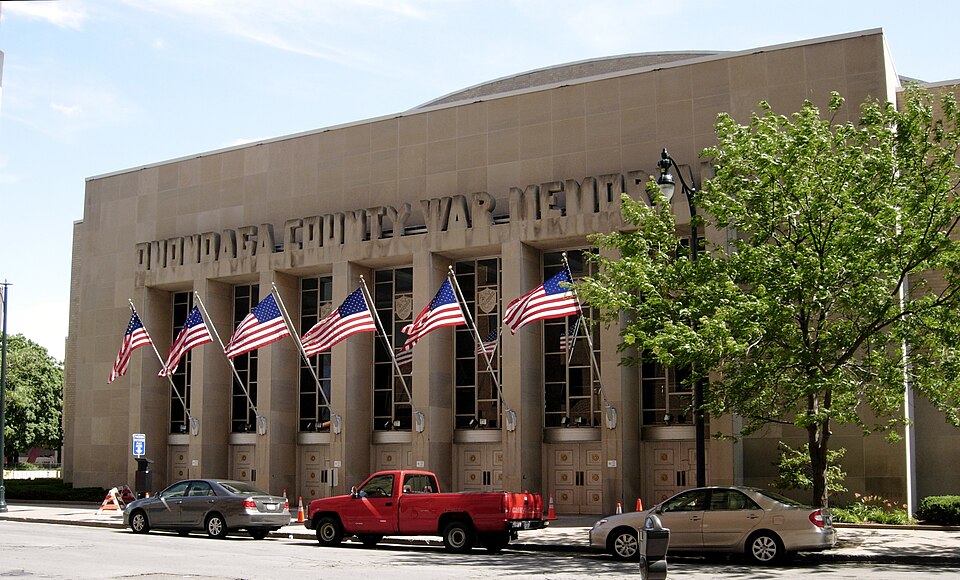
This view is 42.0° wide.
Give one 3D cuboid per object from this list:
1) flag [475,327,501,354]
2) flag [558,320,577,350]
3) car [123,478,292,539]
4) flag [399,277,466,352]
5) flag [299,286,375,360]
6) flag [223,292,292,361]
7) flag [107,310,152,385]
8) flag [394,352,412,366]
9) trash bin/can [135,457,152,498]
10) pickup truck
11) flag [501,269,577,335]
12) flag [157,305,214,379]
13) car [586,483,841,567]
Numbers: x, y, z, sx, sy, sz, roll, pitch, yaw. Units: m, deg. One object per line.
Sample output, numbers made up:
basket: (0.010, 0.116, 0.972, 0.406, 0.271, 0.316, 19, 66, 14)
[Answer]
flag: (0.487, 2.424, 59.416, 0.704, 1.368, 1.246, 3, -14, -21)
flag: (3.981, 2.109, 58.145, 0.856, 1.160, 0.365, 0, -12, 21)
car: (-10.627, 8.739, 49.516, 6.659, 2.245, 2.591, -4, -8, 31)
flag: (-2.213, 0.929, 54.593, 2.997, 3.171, 0.411, -25, -48, 18)
flag: (-6.355, 1.385, 55.739, 3.060, 3.388, 0.190, -10, -44, 2)
flag: (-10.350, 1.631, 56.556, 3.110, 0.217, 2.979, -20, -46, -8)
flag: (-17.882, 2.986, 64.183, 0.439, 1.929, 3.799, -26, -25, -54)
flag: (-3.708, 3.324, 60.539, 0.651, 0.451, 0.105, -11, -10, 32)
trash bin/can: (-15.436, 8.805, 57.158, 0.741, 2.216, 0.716, 4, -11, -26)
pickup truck: (-1.952, 8.506, 46.538, 8.428, 2.984, 3.136, -3, -8, 23)
flag: (2.788, 0.544, 53.133, 2.320, 2.955, 2.486, -1, -1, 23)
flag: (-13.567, 2.346, 58.896, 2.301, 4.372, 2.054, 0, -1, 22)
car: (8.422, 8.612, 45.519, 8.637, 2.550, 3.524, -3, -13, 23)
